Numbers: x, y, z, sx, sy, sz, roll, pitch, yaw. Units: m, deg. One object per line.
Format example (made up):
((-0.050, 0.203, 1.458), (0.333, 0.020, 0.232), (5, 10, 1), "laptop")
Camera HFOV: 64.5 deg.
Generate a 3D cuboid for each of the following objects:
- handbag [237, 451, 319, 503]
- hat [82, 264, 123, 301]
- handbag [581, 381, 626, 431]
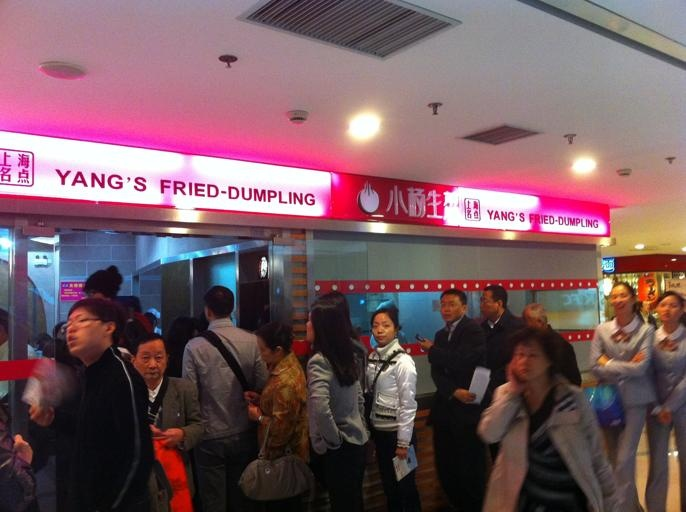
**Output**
((-0.521, 1.746, 4.273), (0.486, 0.170, 0.340), (1, -1, -13), "handbag")
((-2.116, 0.240, 4.784), (0.303, 0.307, 0.418), (-1, -2, -25), "hat")
((2.590, 1.465, 5.381), (0.179, 0.472, 0.747), (-2, -2, 12), "handbag")
